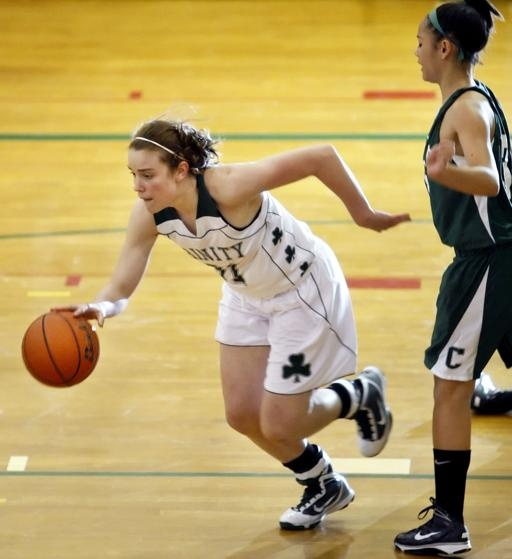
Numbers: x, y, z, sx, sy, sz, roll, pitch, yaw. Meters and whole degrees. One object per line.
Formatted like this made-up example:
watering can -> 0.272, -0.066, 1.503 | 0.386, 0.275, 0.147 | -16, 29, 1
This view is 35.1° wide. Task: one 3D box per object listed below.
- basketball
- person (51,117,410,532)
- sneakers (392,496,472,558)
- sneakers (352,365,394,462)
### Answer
basketball -> -0.586, 0.214, 2.450 | 0.249, 0.217, 0.215 | -13, 3, -1
person -> 0.058, 0.140, 2.508 | 0.766, 1.223, 0.535 | -1, 9, 2
sneakers -> 0.509, 0.715, 2.282 | 0.308, 0.163, 0.095 | -1, -13, 17
sneakers -> 0.409, 0.448, 2.726 | 0.124, 0.285, 0.154 | -4, 1, 39
